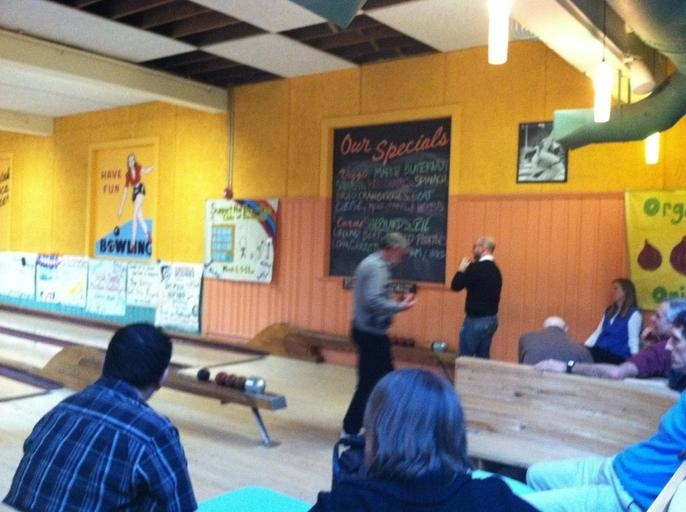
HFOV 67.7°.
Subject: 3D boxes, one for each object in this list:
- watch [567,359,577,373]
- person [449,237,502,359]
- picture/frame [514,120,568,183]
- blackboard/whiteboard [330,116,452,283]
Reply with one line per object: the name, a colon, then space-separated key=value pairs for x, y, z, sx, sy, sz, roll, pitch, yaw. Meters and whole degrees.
watch: x=1.355 y=0.657 z=3.034 sx=0.024 sy=0.068 sz=0.046 roll=26 pitch=-14 yaw=-40
person: x=1.384 y=0.451 z=5.346 sx=0.518 sy=1.275 sz=0.368 roll=2 pitch=1 yaw=-1
picture/frame: x=2.142 y=-1.112 z=5.476 sx=0.670 sy=0.856 sz=0.054 roll=3 pitch=2 yaw=35
blackboard/whiteboard: x=0.658 y=-0.743 z=6.391 sx=2.154 sy=2.634 sz=0.107 roll=1 pitch=-1 yaw=33
